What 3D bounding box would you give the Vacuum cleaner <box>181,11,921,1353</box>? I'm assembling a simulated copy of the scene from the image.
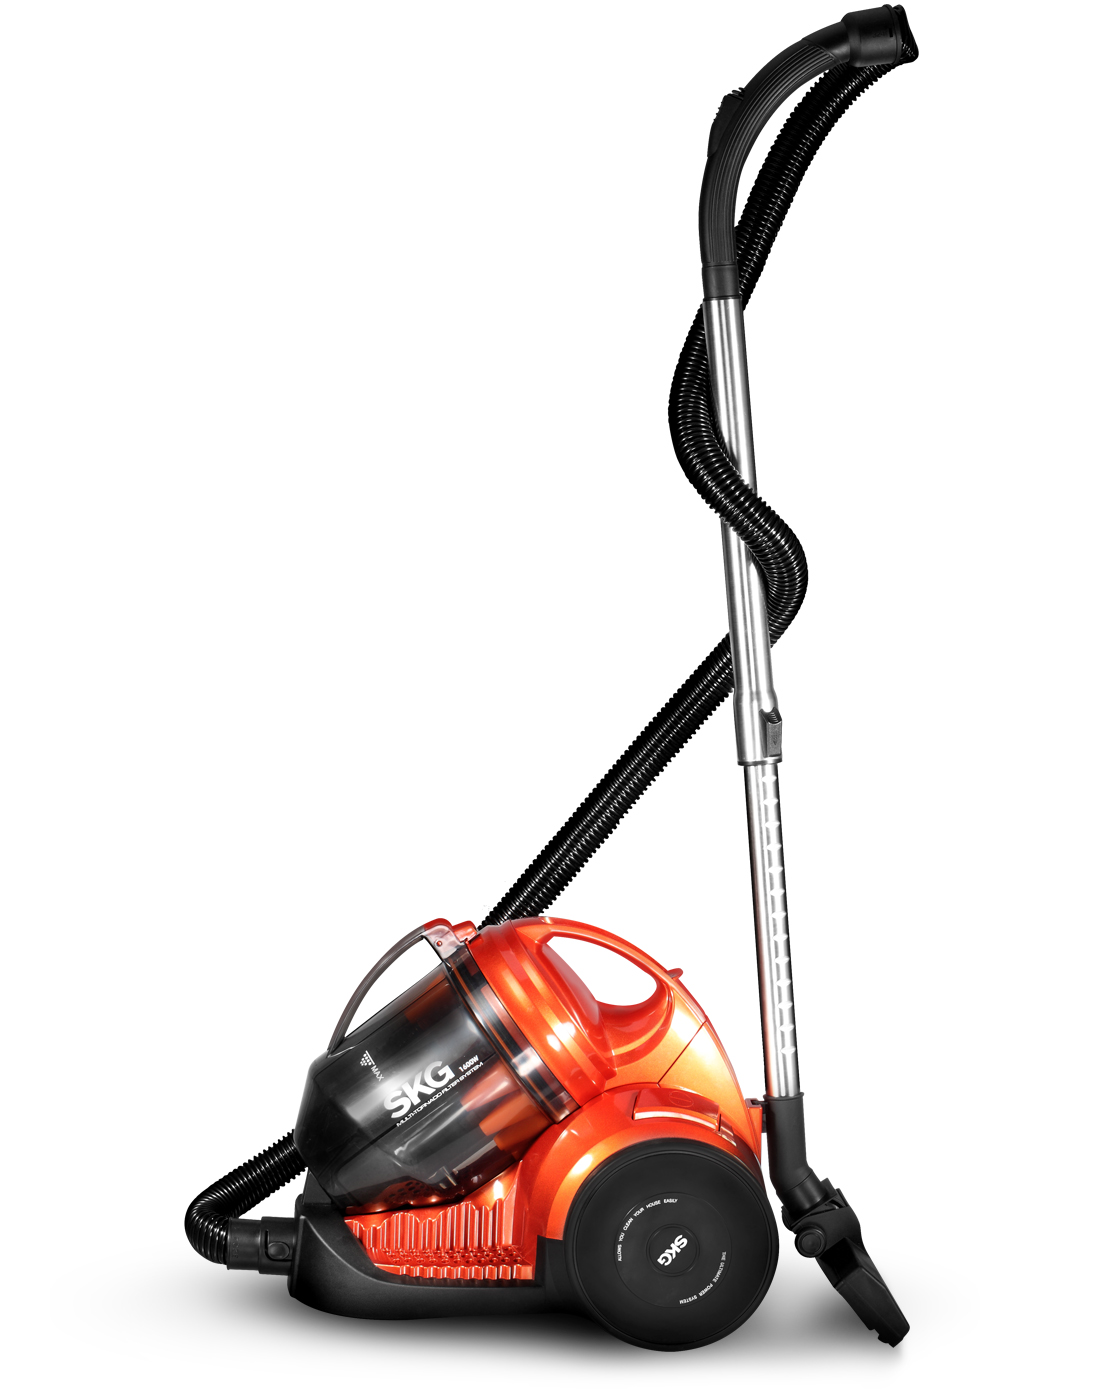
[{"bbox_3d":[0.141,0.261,3.119,0.837,1.983,2.232,22,-48,-35],"label":"Vacuum cleaner"}]
